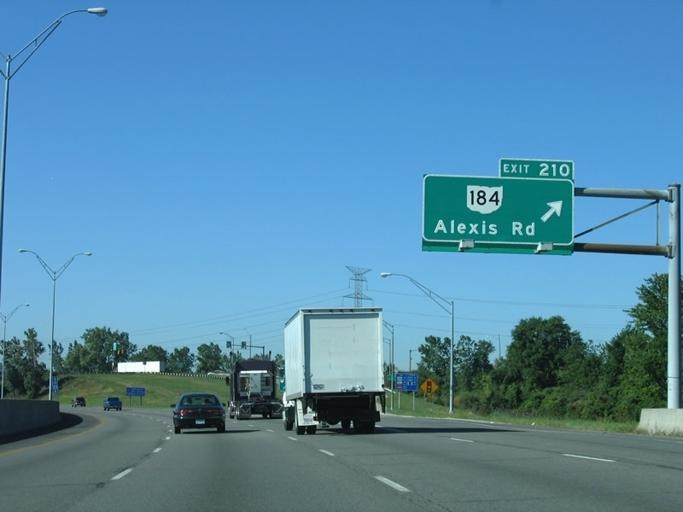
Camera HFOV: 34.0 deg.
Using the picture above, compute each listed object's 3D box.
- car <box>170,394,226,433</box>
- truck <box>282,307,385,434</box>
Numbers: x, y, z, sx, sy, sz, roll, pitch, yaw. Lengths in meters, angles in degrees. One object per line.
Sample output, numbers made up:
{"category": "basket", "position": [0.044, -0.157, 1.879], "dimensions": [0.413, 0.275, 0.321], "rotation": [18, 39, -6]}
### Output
{"category": "car", "position": [-6.969, 7.850, 54.195], "dimensions": [2.430, 2.103, 6.197], "rotation": [0, -9, -11]}
{"category": "truck", "position": [-0.538, 5.285, 51.569], "dimensions": [3.760, 5.528, 9.049], "rotation": [0, -4, -9]}
